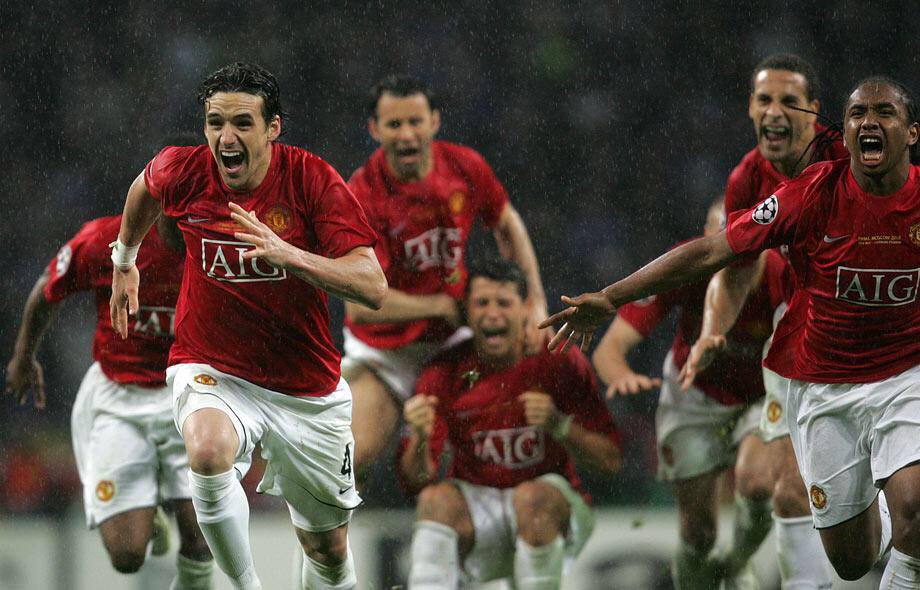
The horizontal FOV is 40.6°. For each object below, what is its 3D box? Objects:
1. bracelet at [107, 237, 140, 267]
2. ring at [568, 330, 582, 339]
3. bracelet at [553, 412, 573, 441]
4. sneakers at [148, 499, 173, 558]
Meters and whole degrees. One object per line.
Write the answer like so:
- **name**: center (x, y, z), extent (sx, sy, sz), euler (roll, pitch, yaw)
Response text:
- **bracelet**: center (-1.793, -0.222, 6.621), extent (0.155, 0.154, 0.165), euler (0, -48, -23)
- **ring**: center (0.567, 0.200, 6.215), extent (0.045, 0.045, 0.012), euler (-1, 5, -14)
- **bracelet**: center (0.589, 0.778, 7.237), extent (0.052, 0.139, 0.133), euler (8, 20, -2)
- **sneakers**: center (-1.716, 1.352, 7.187), extent (0.179, 0.261, 0.249), euler (-4, -38, -9)
